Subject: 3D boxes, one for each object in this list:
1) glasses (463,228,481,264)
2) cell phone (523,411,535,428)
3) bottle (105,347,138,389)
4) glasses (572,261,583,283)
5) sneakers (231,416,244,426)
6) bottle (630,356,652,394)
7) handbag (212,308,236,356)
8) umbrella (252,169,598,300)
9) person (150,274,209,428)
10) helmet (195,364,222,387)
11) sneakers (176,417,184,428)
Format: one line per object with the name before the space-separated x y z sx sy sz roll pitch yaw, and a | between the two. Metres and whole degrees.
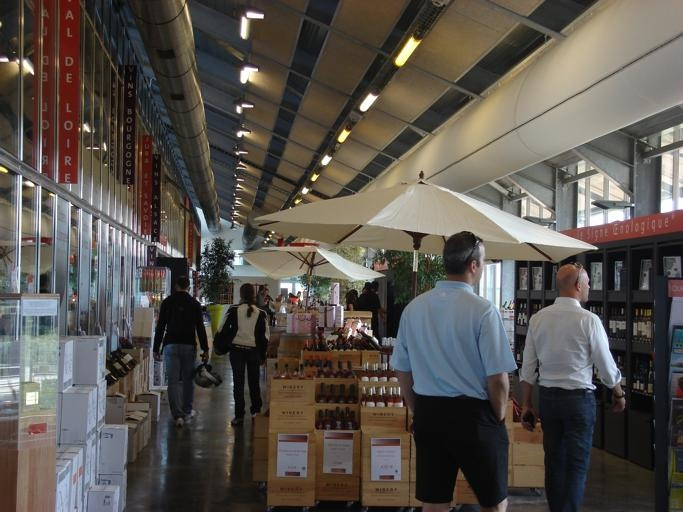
glasses | 0.807 -0.056 3.529 0.046 0.165 0.157 8 17 -9
cell phone | 1.556 1.360 4.691 0.096 0.146 0.051 -3 6 -3
bottle | -2.918 1.483 7.457 0.386 0.193 0.534 1 20 -41
glasses | 1.942 0.121 4.643 0.033 0.127 0.098 6 -1 -14
sneakers | -1.425 2.287 7.817 0.201 0.151 0.074 3 -7 2
bottle | 3.578 1.384 6.693 0.198 0.425 0.277 5 -9 -30
handbag | -1.548 0.996 7.587 0.288 0.636 0.314 3 -8 -17
umbrella | 0.581 -0.267 4.720 1.681 0.768 1.872 9 1 36
person | -2.221 1.312 7.861 0.682 1.974 1.233 3 -8 -18
helmet | -1.716 1.570 7.414 0.304 0.160 0.323 10 3 23
sneakers | -2.169 2.257 7.667 0.086 0.116 0.101 0 27 -4
